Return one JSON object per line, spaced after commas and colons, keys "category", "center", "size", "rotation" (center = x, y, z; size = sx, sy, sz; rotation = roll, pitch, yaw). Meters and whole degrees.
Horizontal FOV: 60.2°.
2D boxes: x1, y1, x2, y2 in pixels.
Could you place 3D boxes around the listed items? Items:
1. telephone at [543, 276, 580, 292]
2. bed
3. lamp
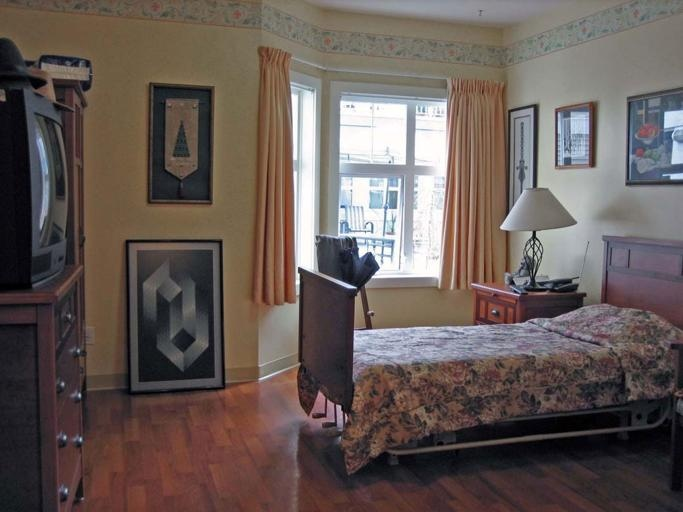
{"category": "telephone", "center": [1.832, 0.239, 4.841], "size": [0.153, 0.052, 0.169], "rotation": [-14, 5, 3]}
{"category": "bed", "center": [0.929, 0.575, 3.958], "size": [2.102, 1.098, 1.336], "rotation": [0, 4, -9]}
{"category": "lamp", "center": [1.677, -0.145, 5.103], "size": [0.676, 0.893, 0.596], "rotation": [-9, 10, -44]}
